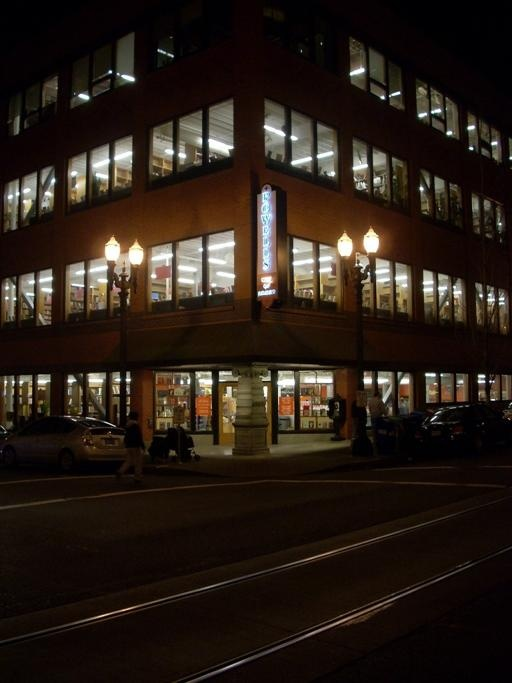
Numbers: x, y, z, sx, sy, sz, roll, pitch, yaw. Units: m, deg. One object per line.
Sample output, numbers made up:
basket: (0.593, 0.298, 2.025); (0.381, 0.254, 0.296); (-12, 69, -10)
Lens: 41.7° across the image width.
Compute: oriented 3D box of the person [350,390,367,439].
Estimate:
person: (2.899, 1.941, 18.969); (0.386, 1.739, 0.420); (-2, 26, 10)

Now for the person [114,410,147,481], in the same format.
person: (-2.845, 2.352, 15.265); (0.518, 1.512, 2.521); (0, -5, -10)
